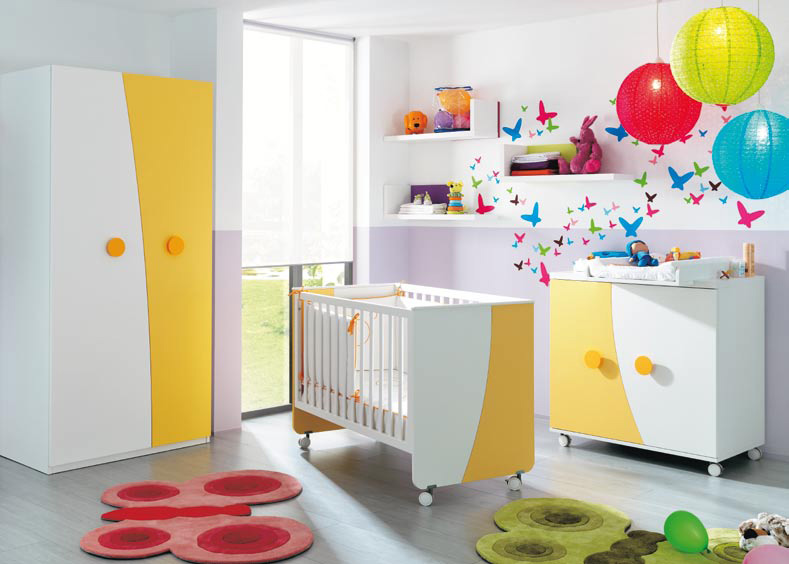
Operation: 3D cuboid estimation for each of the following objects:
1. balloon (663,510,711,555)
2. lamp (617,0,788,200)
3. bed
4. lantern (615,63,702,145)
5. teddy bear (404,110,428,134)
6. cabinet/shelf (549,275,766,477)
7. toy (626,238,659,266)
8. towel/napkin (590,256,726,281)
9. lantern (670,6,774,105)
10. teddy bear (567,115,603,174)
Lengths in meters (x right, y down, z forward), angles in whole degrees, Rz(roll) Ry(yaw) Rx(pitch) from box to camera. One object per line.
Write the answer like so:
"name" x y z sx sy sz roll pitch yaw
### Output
"balloon" 1.274 1.088 2.717 0.171 0.159 0.131 3 6 28
"lamp" 1.690 -0.932 3.473 0.608 0.574 1.427 7 4 -1
"bed" 0.053 0.608 3.850 0.919 0.949 1.392 2 -1 -35
"lantern" 1.465 -0.990 3.746 0.499 0.500 0.476 0 -1 -10
"teddy bear" 0.174 -1.317 5.194 0.186 0.170 0.220 -1 0 -5
"cabinet/shelf" 1.686 0.500 4.047 0.685 1.009 1.221 0 0 -34
"toy" 1.593 -0.190 3.999 0.151 0.086 0.182 -5 22 -9
"towel/napkin" 1.556 -0.075 3.749 0.829 0.145 0.342 3 6 26
"lantern" 1.553 -1.042 3.134 0.489 0.493 0.482 0 0 -44
"teddy bear" 1.311 -0.950 4.326 0.248 0.406 0.202 3 6 27
